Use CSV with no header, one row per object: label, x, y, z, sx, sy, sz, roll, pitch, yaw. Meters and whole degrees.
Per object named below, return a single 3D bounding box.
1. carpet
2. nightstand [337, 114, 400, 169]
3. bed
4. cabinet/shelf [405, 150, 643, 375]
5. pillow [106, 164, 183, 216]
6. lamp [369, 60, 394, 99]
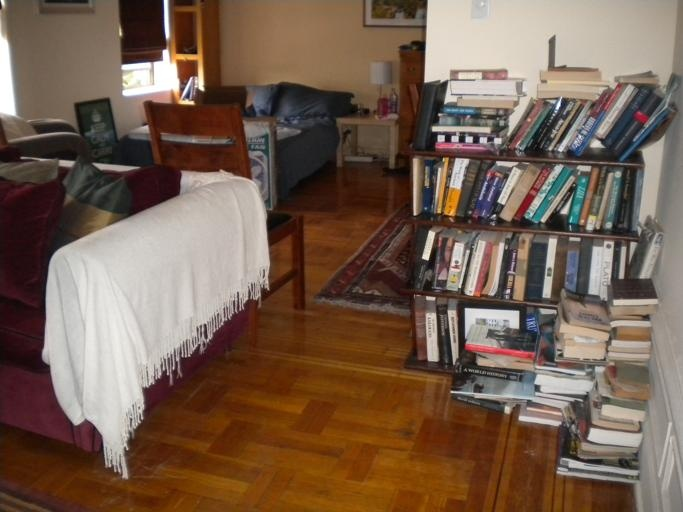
carpet,0.172,0.104,3.612,0.524,0.025,1.656,7,25,12
nightstand,0.371,-1.422,6.468,0.658,0.529,0.700,7,36,12
bed,-0.721,-0.662,3.702,0.984,0.261,1.022,11,31,16
cabinet/shelf,0.847,-0.001,2.384,0.861,0.850,0.480,5,22,14
pillow,-0.777,-0.286,2.176,0.185,0.086,0.232,-40,19,-33
lamp,0.483,-2.150,6.417,0.253,0.431,0.409,3,27,7
